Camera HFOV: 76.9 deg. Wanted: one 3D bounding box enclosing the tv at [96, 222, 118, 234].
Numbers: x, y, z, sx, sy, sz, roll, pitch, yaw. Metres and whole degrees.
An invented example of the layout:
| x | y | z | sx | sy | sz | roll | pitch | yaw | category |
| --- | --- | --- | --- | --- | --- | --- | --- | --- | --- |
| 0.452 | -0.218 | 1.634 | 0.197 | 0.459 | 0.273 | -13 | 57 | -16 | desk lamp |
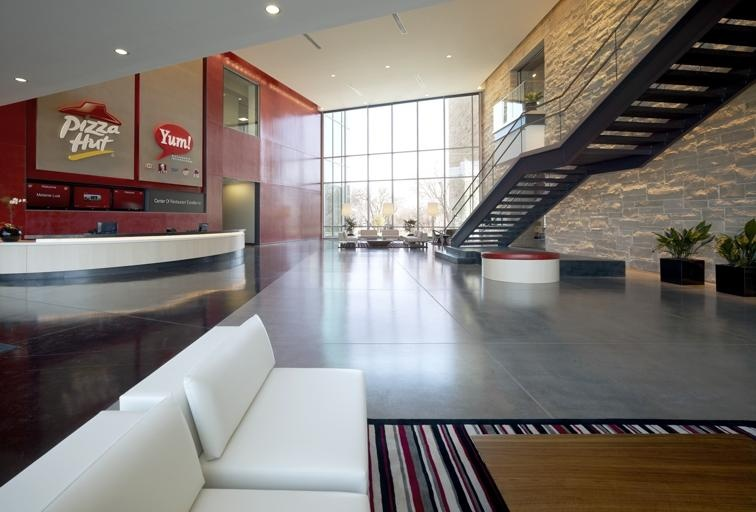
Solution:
| x | y | z | sx | sy | sz | roll | pitch | yaw | category |
| --- | --- | --- | --- | --- | --- | --- | --- | --- | --- |
| -5.946 | -0.604 | 10.450 | 0.360 | 0.259 | 1.299 | -1 | 4 | -30 | tv |

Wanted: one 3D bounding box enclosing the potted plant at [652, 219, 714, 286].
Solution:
| x | y | z | sx | sy | sz | roll | pitch | yaw | category |
| --- | --- | --- | --- | --- | --- | --- | --- | --- | --- |
| 5.779 | 0.001 | 8.994 | 0.981 | 1.381 | 1.402 | 0 | -1 | 1 | potted plant |

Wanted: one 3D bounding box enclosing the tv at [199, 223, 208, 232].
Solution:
| x | y | z | sx | sy | sz | roll | pitch | yaw | category |
| --- | --- | --- | --- | --- | --- | --- | --- | --- | --- |
| -4.637 | -0.746 | 12.706 | 0.188 | 0.217 | 1.590 | -1 | 4 | -22 | tv |
